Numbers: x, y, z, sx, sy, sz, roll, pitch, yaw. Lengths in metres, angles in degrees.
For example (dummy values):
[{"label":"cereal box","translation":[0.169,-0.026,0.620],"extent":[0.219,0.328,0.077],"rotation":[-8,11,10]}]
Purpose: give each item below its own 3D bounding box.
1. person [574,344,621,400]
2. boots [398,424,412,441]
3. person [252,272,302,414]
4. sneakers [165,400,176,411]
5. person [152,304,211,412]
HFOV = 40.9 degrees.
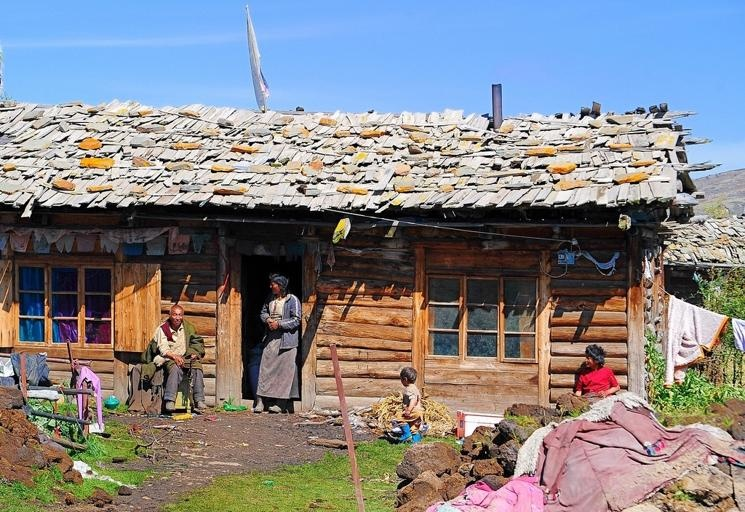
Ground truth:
[{"label":"person","translation":[3.896,2.007,17.051],"extent":[0.577,0.704,0.541],"rotation":[-28,-52,36]},{"label":"boots","translation":[0.573,3.053,17.230],"extent":[0.217,0.316,0.085],"rotation":[1,-4,-2]},{"label":"person","translation":[-1.744,1.527,18.700],"extent":[0.806,2.310,0.520],"rotation":[1,-4,-3]},{"label":"sneakers","translation":[-3.682,2.712,18.075],"extent":[0.199,0.171,0.188],"rotation":[0,3,-7]},{"label":"person","translation":[-3.540,1.905,18.251],"extent":[0.963,1.943,0.605],"rotation":[3,-5,-24]}]
